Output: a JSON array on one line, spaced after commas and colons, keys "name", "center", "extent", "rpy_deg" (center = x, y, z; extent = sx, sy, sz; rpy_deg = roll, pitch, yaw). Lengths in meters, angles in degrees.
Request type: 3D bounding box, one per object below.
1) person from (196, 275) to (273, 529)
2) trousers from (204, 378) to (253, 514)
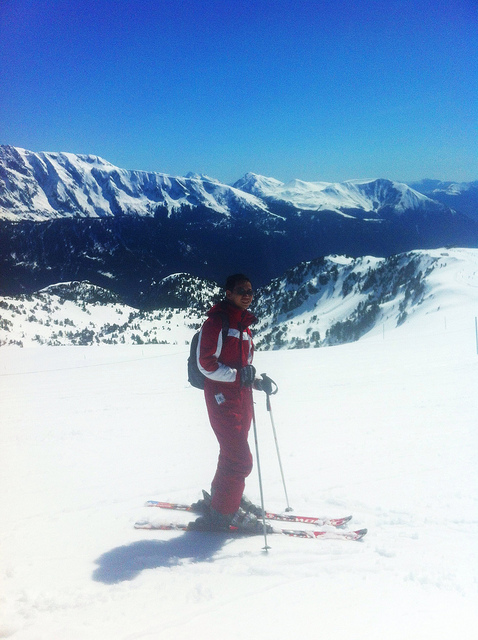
[{"name": "person", "center": [-0.052, 0.794, 6.629], "extent": [0.715, 2.477, 0.847], "rpy_deg": [0, -1, 2]}, {"name": "trousers", "center": [-0.106, 1.209, 6.536], "extent": [0.461, 1.314, 0.278], "rpy_deg": [1, -1, -4]}]
